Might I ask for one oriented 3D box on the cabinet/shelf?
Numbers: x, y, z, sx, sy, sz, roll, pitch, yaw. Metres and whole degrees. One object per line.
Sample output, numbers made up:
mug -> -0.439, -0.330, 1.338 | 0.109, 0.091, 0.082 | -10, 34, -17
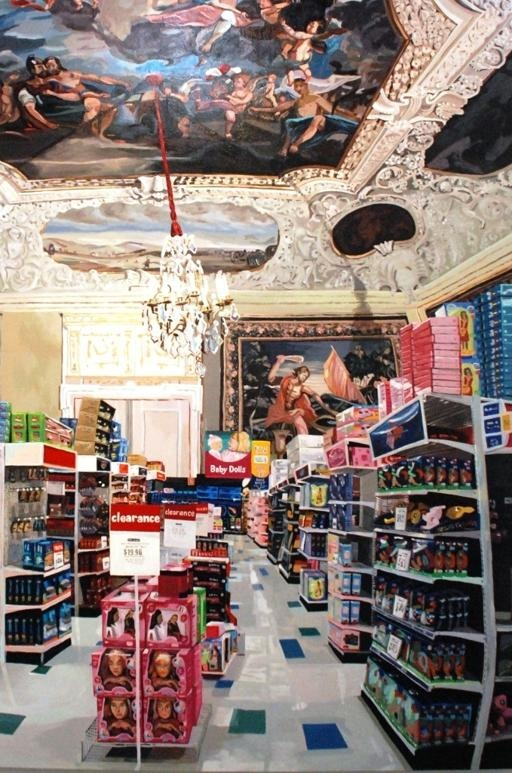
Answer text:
cabinet/shelf -> -0.106, 1.440, 4.735 | 2.813, 1.344, 4.026 | 0, -12, -1

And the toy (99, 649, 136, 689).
toy -> -0.725, 1.495, 3.244 | 0.172, 0.189, 0.101 | -1, -18, -3

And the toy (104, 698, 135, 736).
toy -> -0.711, 1.741, 3.245 | 0.165, 0.212, 0.109 | -2, -21, -6
